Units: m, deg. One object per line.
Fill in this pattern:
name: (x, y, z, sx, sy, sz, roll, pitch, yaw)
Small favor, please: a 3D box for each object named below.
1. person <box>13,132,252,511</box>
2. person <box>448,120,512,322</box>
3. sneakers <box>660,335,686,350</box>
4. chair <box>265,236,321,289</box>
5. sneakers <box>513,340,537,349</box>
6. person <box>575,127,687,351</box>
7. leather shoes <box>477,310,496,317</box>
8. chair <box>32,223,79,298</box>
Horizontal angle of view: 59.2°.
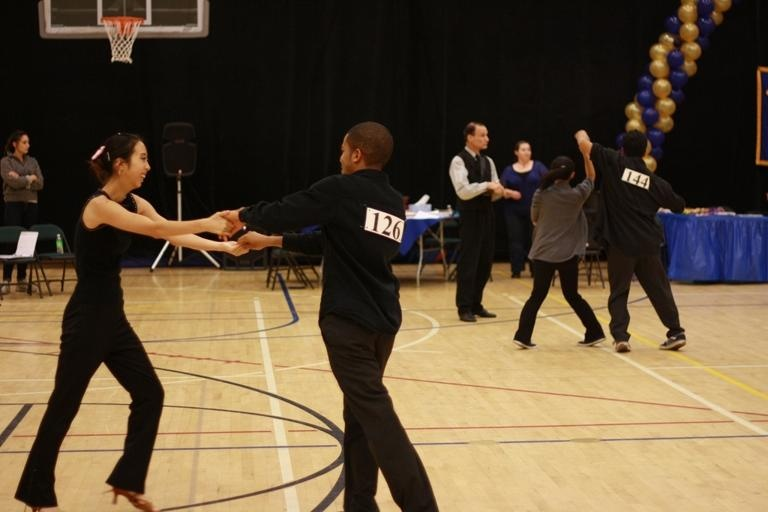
person: (-1.632, 0.407, 4.153, 1.029, 2.320, 0.884, 3, 9, 15)
person: (1.161, -0.418, 8.602, 0.664, 2.556, 0.659, 2, 9, 9)
sneakers: (3.143, 0.945, 7.383, 0.131, 0.135, 0.320, 0, -4, -13)
chair: (-1.666, 0.238, 12.416, 0.958, 1.160, 1.246, -1, 4, -3)
sneakers: (1.552, 0.973, 7.489, 0.269, 0.108, 0.096, 2, 5, -15)
person: (2.697, -0.155, 7.312, 1.164, 2.366, 0.474, 4, 9, 20)
leather shoes: (1.362, 0.766, 8.967, 0.274, 0.104, 0.097, 2, 1, -3)
chair: (-5.204, 0.025, 10.725, 0.857, 1.041, 0.769, 1, 4, 13)
